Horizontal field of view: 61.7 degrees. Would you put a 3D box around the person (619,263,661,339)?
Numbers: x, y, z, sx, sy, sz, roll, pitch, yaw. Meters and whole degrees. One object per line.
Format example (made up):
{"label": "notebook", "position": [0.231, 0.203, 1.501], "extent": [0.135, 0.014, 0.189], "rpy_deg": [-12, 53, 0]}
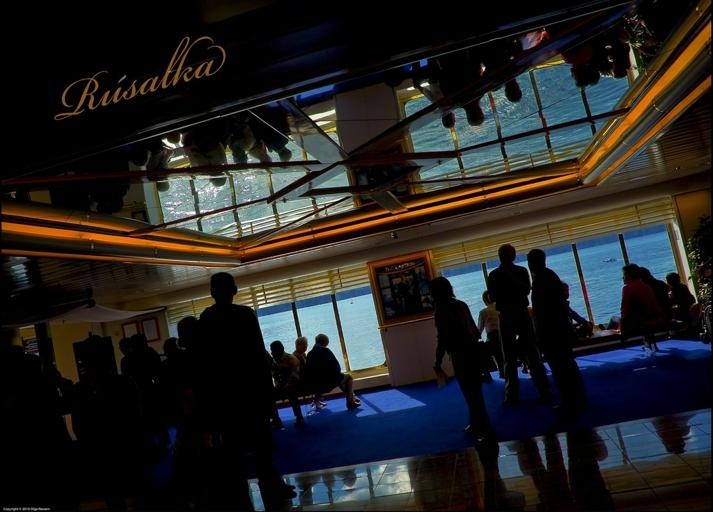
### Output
{"label": "person", "position": [4.247, 0.679, 9.024], "extent": [0.585, 1.142, 0.675], "rpy_deg": [-14, -1, 30]}

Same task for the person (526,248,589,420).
{"label": "person", "position": [2.247, 0.873, 6.769], "extent": [0.421, 1.956, 0.485], "rpy_deg": [-14, -1, 16]}

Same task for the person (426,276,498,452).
{"label": "person", "position": [1.126, 1.148, 6.667], "extent": [0.547, 1.899, 0.530], "rpy_deg": [-14, -1, 22]}

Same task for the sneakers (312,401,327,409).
{"label": "sneakers", "position": [-0.699, 2.793, 11.234], "extent": [0.350, 0.119, 0.107], "rpy_deg": [-2, -1, -2]}
